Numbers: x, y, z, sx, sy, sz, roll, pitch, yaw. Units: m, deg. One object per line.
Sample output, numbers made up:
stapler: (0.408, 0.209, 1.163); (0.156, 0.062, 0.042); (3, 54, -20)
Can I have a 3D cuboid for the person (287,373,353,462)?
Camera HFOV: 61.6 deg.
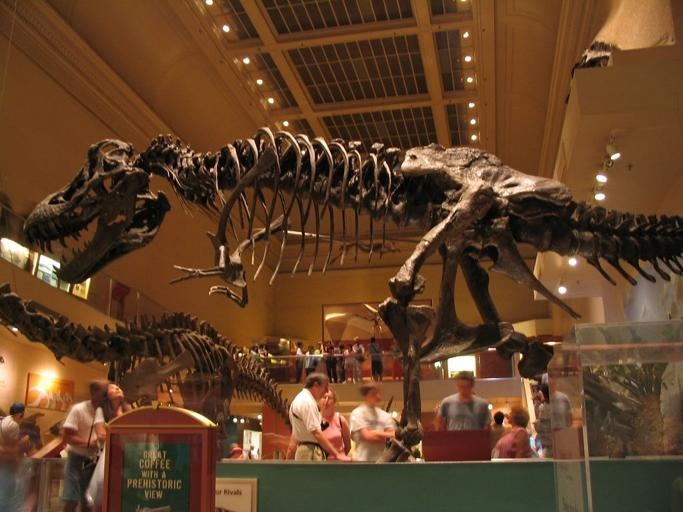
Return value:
person: (-0.214, 1.515, 5.432); (0.530, 0.836, 0.534); (1, -22, -3)
